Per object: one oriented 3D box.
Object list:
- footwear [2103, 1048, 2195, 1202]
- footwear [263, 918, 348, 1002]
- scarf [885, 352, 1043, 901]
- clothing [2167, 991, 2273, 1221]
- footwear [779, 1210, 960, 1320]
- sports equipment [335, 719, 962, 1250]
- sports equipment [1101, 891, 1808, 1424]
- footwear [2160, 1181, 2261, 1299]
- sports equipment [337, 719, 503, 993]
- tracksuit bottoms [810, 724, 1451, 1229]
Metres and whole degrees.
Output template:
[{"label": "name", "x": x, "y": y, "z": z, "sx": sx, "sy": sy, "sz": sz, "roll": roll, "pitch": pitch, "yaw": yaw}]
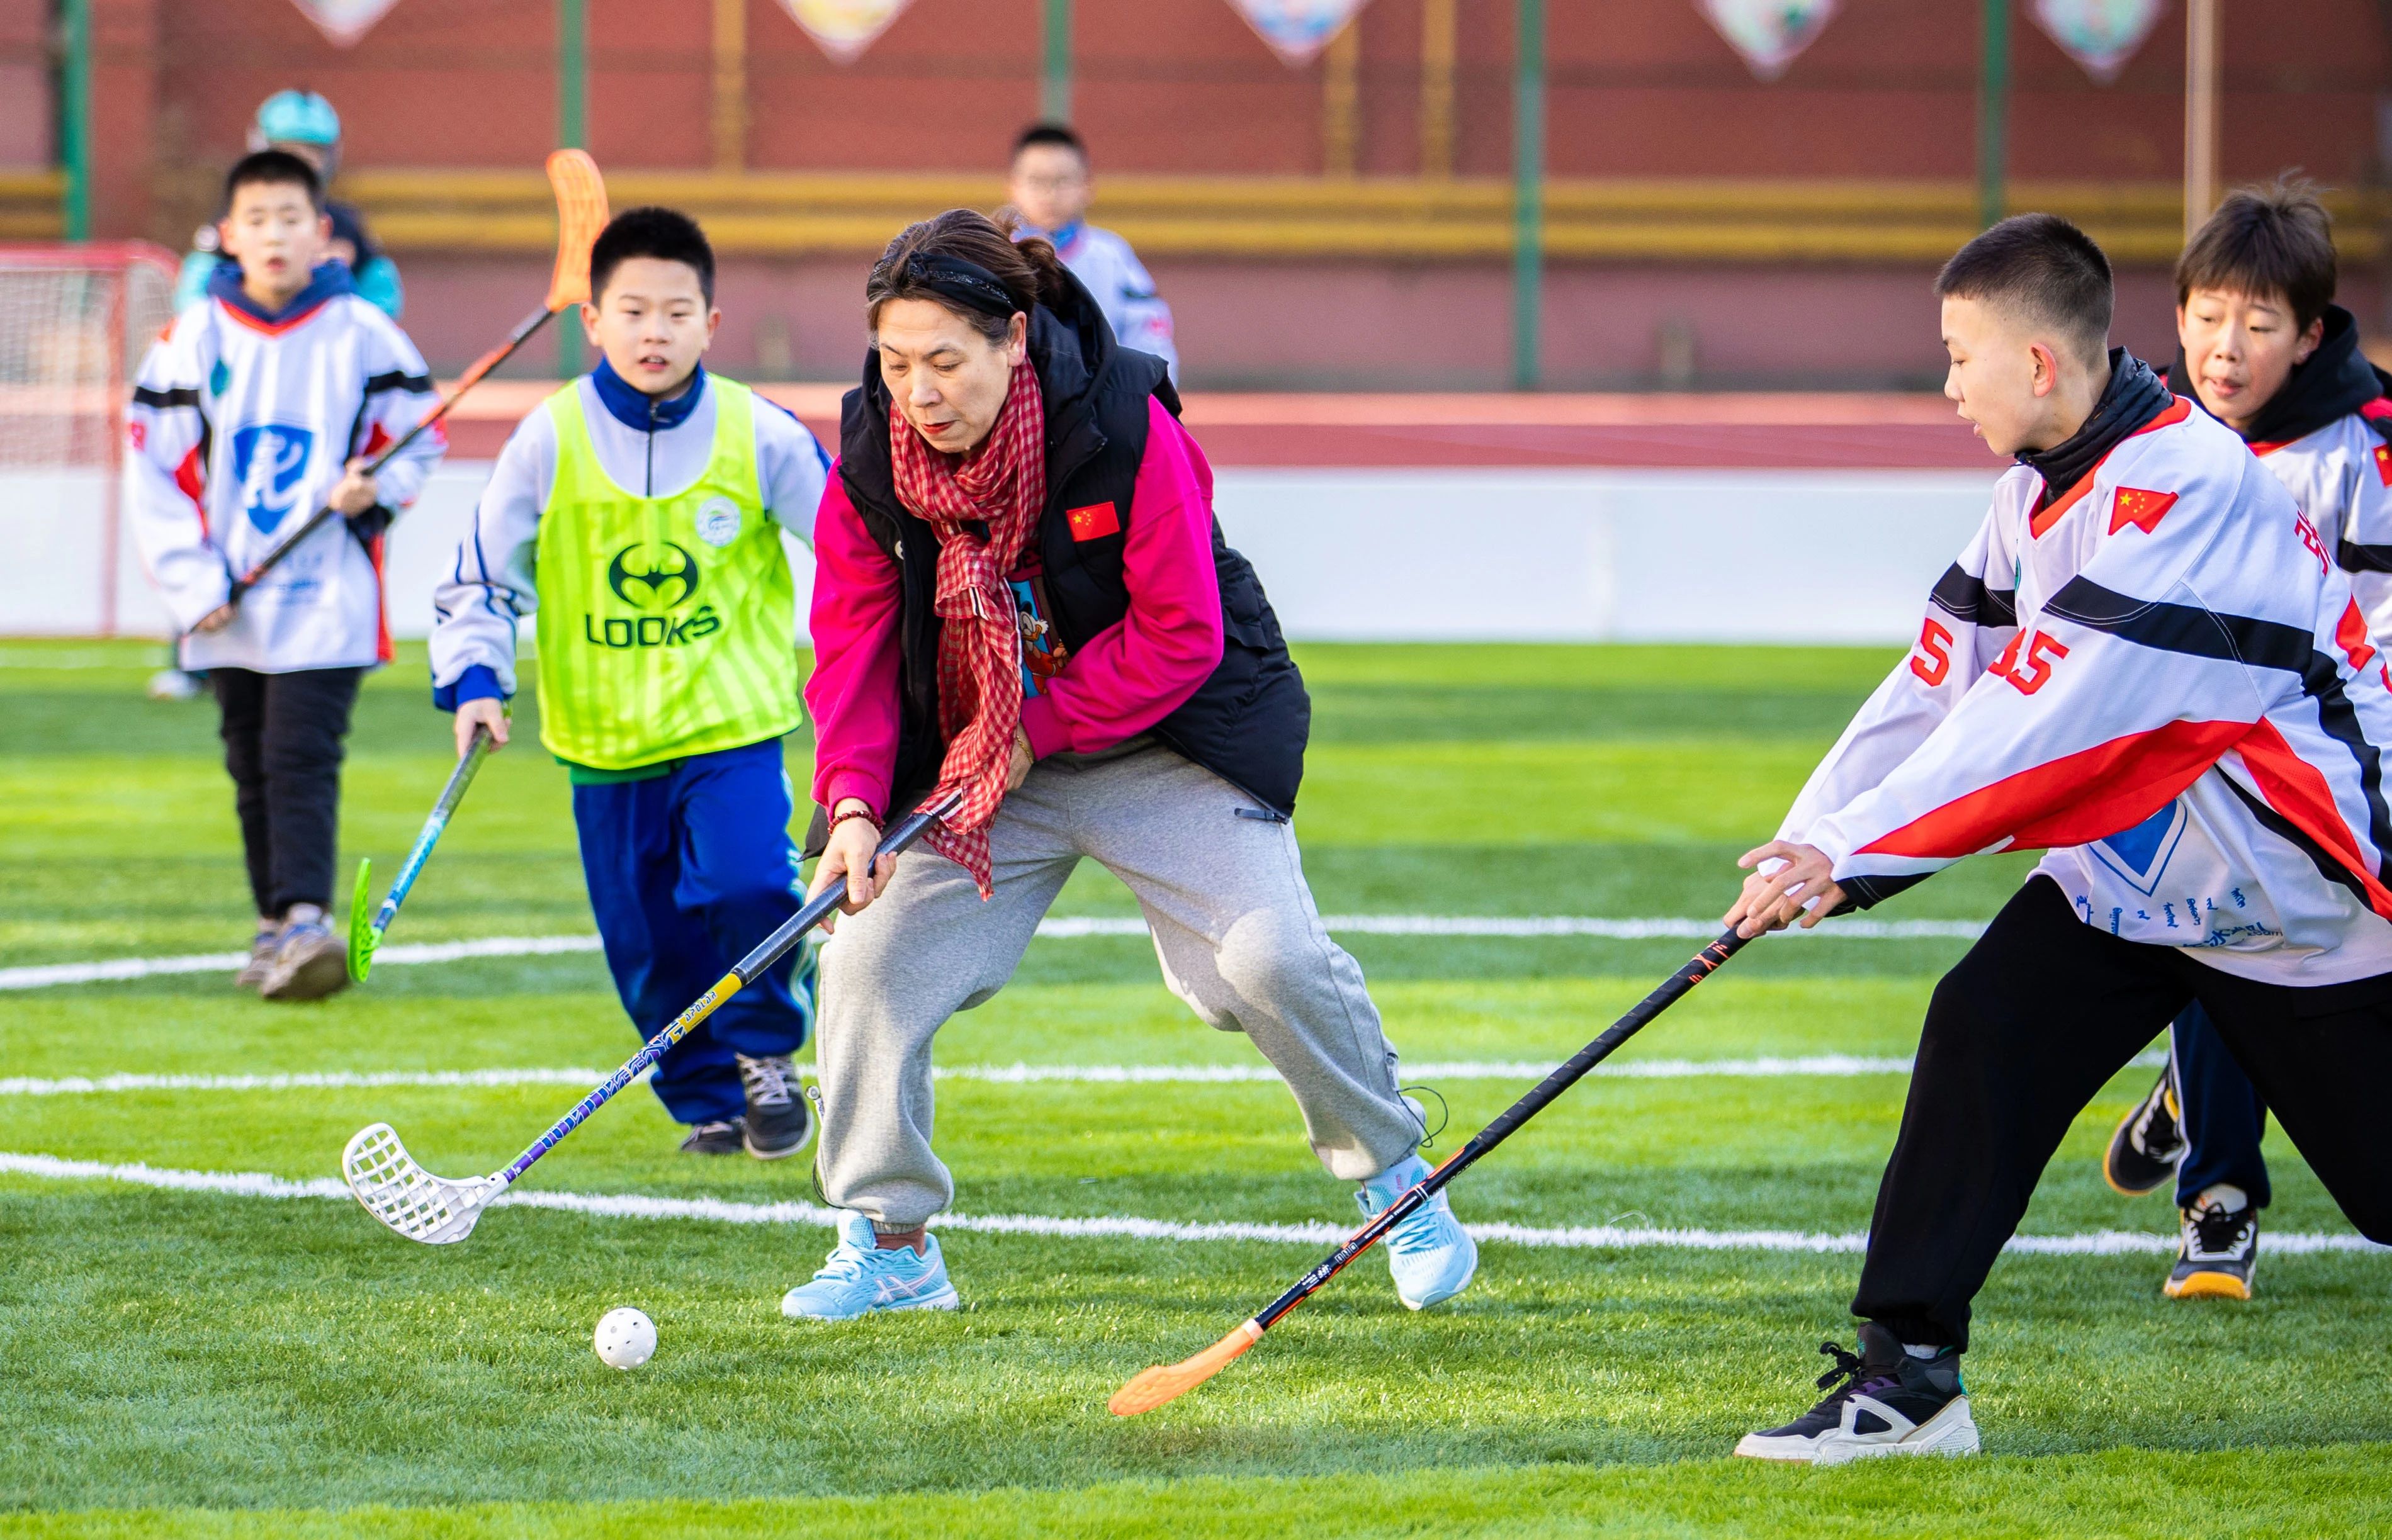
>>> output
[{"label": "footwear", "x": 2.434, "y": 0.914, "z": 10.854, "sx": 0.145, "sy": 0.361, "sz": 0.149, "roll": 23, "pitch": 36, "yaw": 4}, {"label": "footwear", "x": -2.538, "y": 0.555, "z": 12.164, "sx": 0.164, "sy": 0.145, "sz": 0.319, "roll": -10, "pitch": 0, "yaw": -21}, {"label": "scarf", "x": -0.557, "y": -0.329, "z": 10.108, "sx": 0.333, "sy": 1.276, "sz": 0.218, "roll": 0, "pitch": 8, "yaw": -23}, {"label": "clothing", "x": 2.557, "y": 0.846, "z": 10.680, "sx": 0.207, "sy": 0.547, "sz": 0.236, "roll": -9, "pitch": 0, "yaw": 25}, {"label": "footwear", "x": -0.782, "y": 1.260, "z": 10.495, "sx": 0.534, "sy": 0.264, "sz": 0.188, "roll": 1, "pitch": -6, "yaw": -14}, {"label": "sports equipment", "x": -1.526, "y": 0.743, "z": 10.311, "sx": 0.182, "sy": 2.167, "sz": 0.706, "roll": 48, "pitch": 6, "yaw": -48}, {"label": "sports equipment", "x": 0.653, "y": 1.049, "z": 10.899, "sx": 1.848, "sy": 0.095, "sz": 0.288, "roll": -34, "pitch": 15, "yaw": -2}, {"label": "footwear", "x": 2.475, "y": 1.195, "z": 10.424, "sx": 0.155, "sy": 0.153, "sz": 0.373, "roll": -2, "pitch": 2, "yaw": 14}, {"label": "sports equipment", "x": -2.420, "y": 0.311, "z": 13.365, "sx": 0.275, "sy": 0.721, "sz": 0.470, "roll": 37, "pitch": -21, "yaw": 0}, {"label": "tracksuit bottoms", "x": -0.214, "y": 0.585, "z": 10.873, "sx": 1.292, "sy": 1.046, "sz": 0.554, "roll": -6, "pitch": -17, "yaw": 6}]
